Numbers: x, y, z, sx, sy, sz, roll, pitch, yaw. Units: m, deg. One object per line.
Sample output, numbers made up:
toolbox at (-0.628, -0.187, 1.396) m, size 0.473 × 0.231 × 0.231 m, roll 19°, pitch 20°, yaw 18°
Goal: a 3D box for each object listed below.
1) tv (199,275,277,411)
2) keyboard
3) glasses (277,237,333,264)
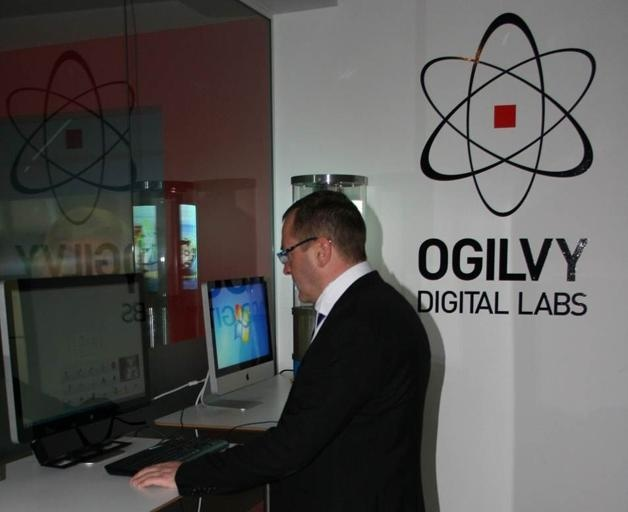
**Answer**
tv at (-0.386, 0.441, 3.022) m, size 0.176 × 0.585 × 0.531 m, roll -4°, pitch -5°, yaw 19°
keyboard at (-0.566, 0.756, 2.344) m, size 0.148 × 0.042 × 0.270 m, roll -3°, pitch 1°, yaw 26°
glasses at (-0.069, -0.026, 2.288) m, size 0.107 × 0.036 × 0.107 m, roll -30°, pitch -9°, yaw 6°
